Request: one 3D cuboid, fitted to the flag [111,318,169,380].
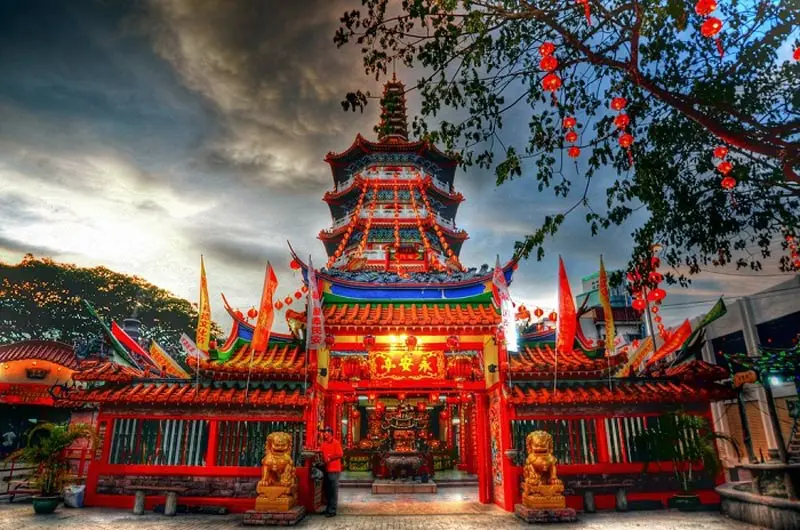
[{"bbox_3d":[-10.553,3.186,18.912,3.743,0.592,0.203,44,-48,4],"label":"flag"}]

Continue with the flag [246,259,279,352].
[{"bbox_3d":[-3.793,1.489,13.410,1.210,3.017,1.010,0,0,0],"label":"flag"}]

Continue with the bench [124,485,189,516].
[{"bbox_3d":[-7.120,6.858,13.984,1.448,0.784,0.567,2,-24,-5],"label":"bench"}]

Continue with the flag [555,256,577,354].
[{"bbox_3d":[4.793,1.072,13.879,0.694,2.685,0.156,3,-5,-31],"label":"flag"}]

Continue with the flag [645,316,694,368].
[{"bbox_3d":[8.436,2.734,15.549,0.106,0.359,1.786,29,-53,7],"label":"flag"}]

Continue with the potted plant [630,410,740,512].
[{"bbox_3d":[8.271,5.743,14.196,2.387,2.704,1.126,-2,-24,4],"label":"potted plant"}]

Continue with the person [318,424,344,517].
[{"bbox_3d":[-2.021,6.093,14.393,1.002,2.332,0.853,-3,-3,-9],"label":"person"}]

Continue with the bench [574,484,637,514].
[{"bbox_3d":[5.989,6.825,14.170,1.628,0.831,0.390,5,-24,-13],"label":"bench"}]

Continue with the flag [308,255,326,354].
[{"bbox_3d":[-2.524,1.269,14.454,0.600,2.438,1.602,4,-24,-8],"label":"flag"}]
